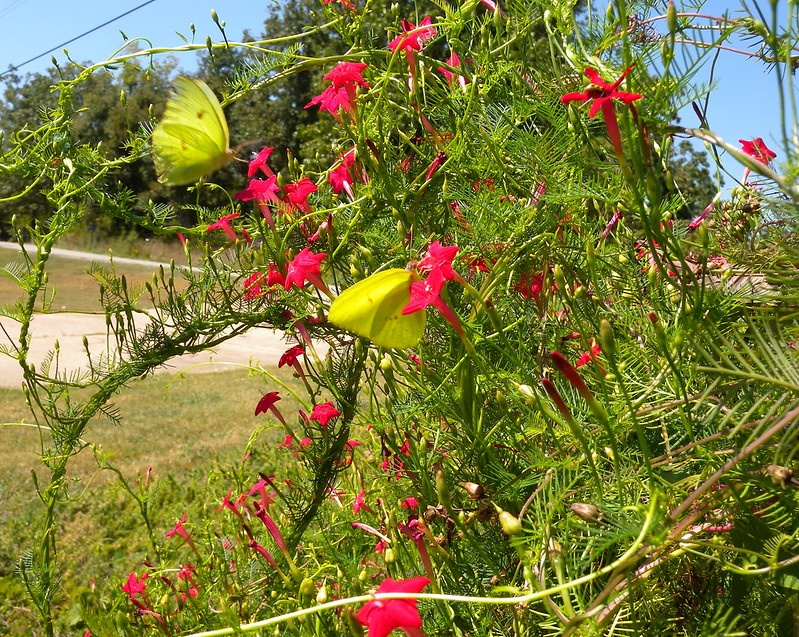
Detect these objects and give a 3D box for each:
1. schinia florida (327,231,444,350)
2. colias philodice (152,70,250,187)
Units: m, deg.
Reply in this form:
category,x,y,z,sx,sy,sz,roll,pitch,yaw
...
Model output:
category,x,y,z,sx,sy,sz,roll,pitch,yaw
schinia florida,-0.012,-0.020,2.108,0.401,0.267,0.468,0,-5,-16
colias philodice,-0.616,-0.571,2.491,0.254,0.327,0.266,7,21,9
